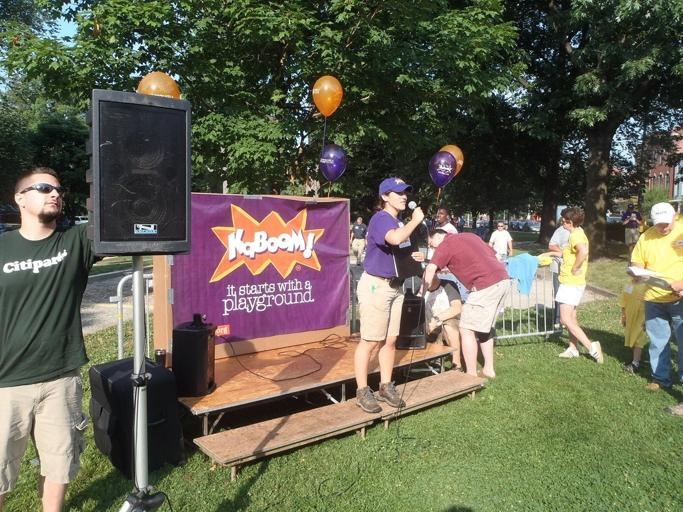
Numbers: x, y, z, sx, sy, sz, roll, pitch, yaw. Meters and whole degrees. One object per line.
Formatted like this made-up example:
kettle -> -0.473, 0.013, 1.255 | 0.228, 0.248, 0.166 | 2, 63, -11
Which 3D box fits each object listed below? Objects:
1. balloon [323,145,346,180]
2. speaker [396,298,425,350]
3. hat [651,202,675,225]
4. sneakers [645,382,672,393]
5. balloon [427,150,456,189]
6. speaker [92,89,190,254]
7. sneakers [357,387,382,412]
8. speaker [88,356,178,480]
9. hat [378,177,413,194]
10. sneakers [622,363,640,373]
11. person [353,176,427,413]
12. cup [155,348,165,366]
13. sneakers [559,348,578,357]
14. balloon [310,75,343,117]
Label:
balloon -> -0.161, -1.810, 11.599 | 0.498, 0.713, 0.581 | -2, 11, -4
speaker -> 0.957, 0.783, 8.172 | 0.444, 0.893, 0.539 | 1, 35, 12
hat -> 4.050, -0.475, 7.435 | 0.238, 0.209, 0.365 | -18, 21, 39
sneakers -> 4.097, 1.695, 7.662 | 0.322, 0.160, 0.127 | 3, 1, 17
balloon -> 1.889, -1.611, 10.993 | 0.450, 0.635, 0.430 | 2, 11, 14
speaker -> -1.612, -0.557, 4.853 | 0.728, 1.387, 0.507 | -2, -21, -16
sneakers -> 0.312, 1.613, 6.739 | 0.227, 0.238, 0.336 | -5, 12, -19
speaker -> -2.275, 1.678, 6.351 | 0.649, 1.057, 1.049 | -8, 12, -43
hat -> 0.618, -0.809, 6.880 | 0.257, 0.164, 0.200 | 3, 8, 33
sneakers -> 4.106, 1.599, 8.319 | 0.098, 0.134, 0.304 | -24, -6, -20
person -> 0.537, 0.431, 6.817 | 0.768, 2.579, 0.983 | 4, 11, 26
cup -> -2.076, 1.163, 6.764 | 0.115, 0.202, 0.117 | 3, 17, -1
sneakers -> 3.509, 1.489, 9.067 | 0.305, 0.154, 0.111 | -5, -4, 39
balloon -> -0.266, -2.996, 11.097 | 0.581, 0.811, 0.631 | 0, 8, -11
